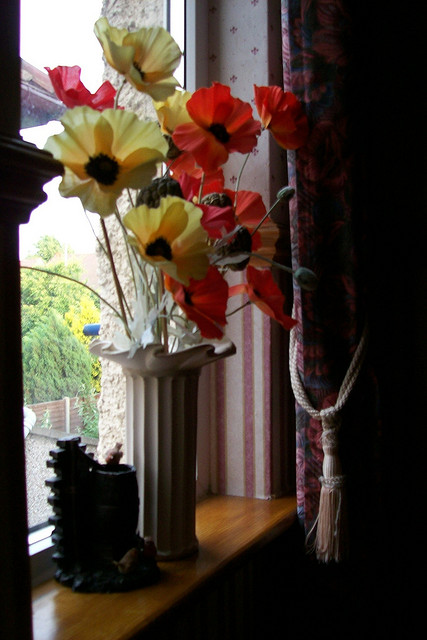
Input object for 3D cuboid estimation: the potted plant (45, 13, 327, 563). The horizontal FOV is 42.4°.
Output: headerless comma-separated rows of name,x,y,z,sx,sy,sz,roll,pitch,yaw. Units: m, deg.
potted plant,-0.066,-0.008,0.774,0.297,0.608,0.355,-3,-3,38
